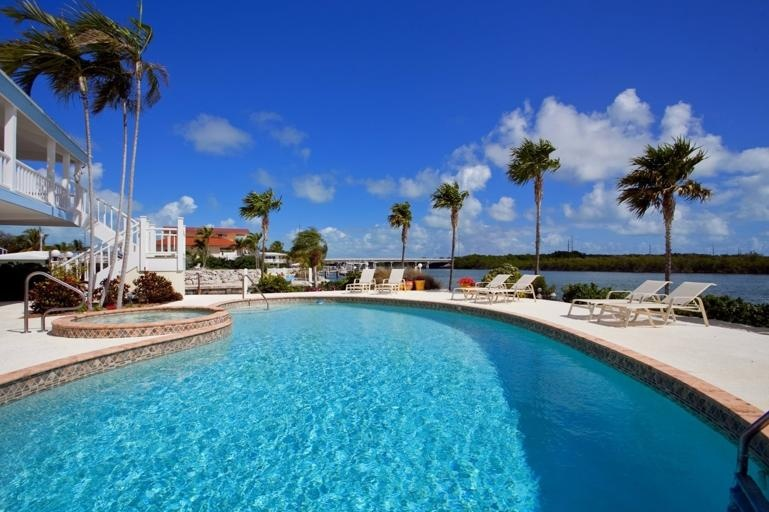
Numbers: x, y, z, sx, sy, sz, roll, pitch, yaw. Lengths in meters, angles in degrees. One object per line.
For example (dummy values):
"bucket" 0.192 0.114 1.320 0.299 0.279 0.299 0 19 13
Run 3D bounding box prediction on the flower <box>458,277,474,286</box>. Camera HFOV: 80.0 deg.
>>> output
"flower" 4.474 1.461 25.244 0.647 0.311 0.643 -1 -4 -3

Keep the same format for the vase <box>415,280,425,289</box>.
"vase" 2.403 1.907 30.519 0.787 0.650 0.547 5 -4 -18

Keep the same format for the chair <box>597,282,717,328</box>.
"chair" 9.814 1.812 16.520 3.530 1.485 1.934 2 -7 -7

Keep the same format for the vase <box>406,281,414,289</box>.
"vase" 1.687 1.909 30.198 0.416 0.576 0.821 3 -4 15

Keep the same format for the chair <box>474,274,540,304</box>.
"chair" 6.164 1.705 22.795 2.847 1.102 1.540 4 -8 -33
